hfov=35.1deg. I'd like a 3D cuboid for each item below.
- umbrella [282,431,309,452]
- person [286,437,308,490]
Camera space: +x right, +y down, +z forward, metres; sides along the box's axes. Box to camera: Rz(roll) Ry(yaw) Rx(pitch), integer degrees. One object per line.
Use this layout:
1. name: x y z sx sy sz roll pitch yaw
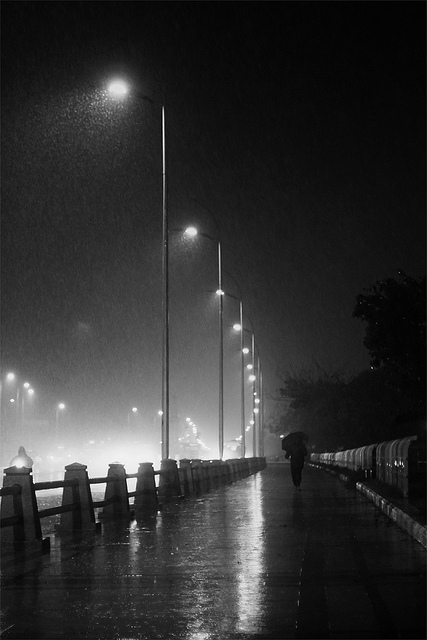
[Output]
1. umbrella: 3.015 4.498 25.086 0.784 0.723 1.550 -13 -17 28
2. person: 3.187 5.538 25.700 0.726 1.845 3.783 -4 -16 7
